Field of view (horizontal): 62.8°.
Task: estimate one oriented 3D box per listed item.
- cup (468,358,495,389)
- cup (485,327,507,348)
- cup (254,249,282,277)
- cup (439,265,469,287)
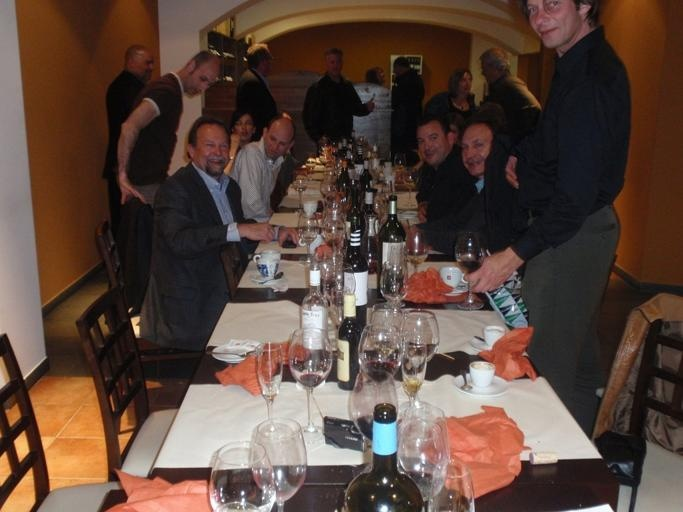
[{"bbox_3d":[0.414,0.347,1.651,0.067,0.061,0.065,-4,8,1],"label":"cup"},{"bbox_3d":[0.528,0.274,1.897,0.060,0.057,0.066,3,-1,0],"label":"cup"},{"bbox_3d":[-0.325,0.037,2.505,0.115,0.119,0.099,2,23,0],"label":"cup"},{"bbox_3d":[0.487,0.083,2.414,0.098,0.078,0.079,-1,9,-19],"label":"cup"}]
